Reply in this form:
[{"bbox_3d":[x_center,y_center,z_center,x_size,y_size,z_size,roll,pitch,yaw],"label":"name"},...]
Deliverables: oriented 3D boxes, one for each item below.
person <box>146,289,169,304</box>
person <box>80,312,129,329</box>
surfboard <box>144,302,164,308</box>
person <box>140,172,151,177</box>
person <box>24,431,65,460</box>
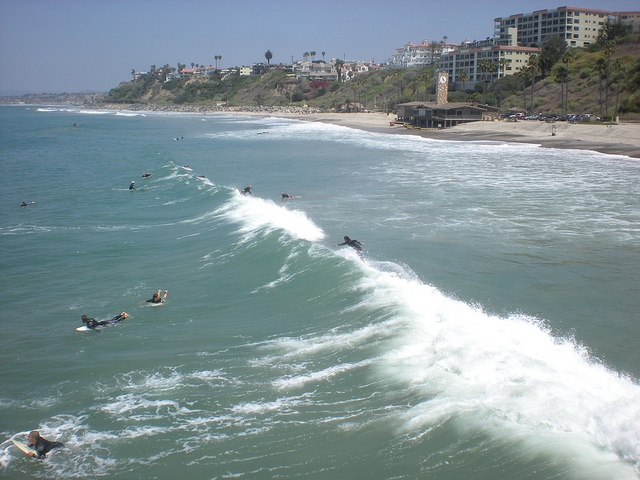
[{"bbox_3d":[-6.874,2.478,24.852,0.919,0.216,0.528,4,21,5],"label":"person"},{"bbox_3d":[-8.617,3.235,23.117,1.220,0.358,0.728,-1,7,-24],"label":"person"},{"bbox_3d":[-7.002,2.738,24.520,0.825,0.130,0.327,-1,15,2],"label":"surfboard"},{"bbox_3d":[-15.273,-5.838,50.767,1.039,0.333,1.226,-4,7,-27],"label":"person"},{"bbox_3d":[-8.362,6.208,17.432,1.206,0.385,0.710,6,15,-3],"label":"person"}]
